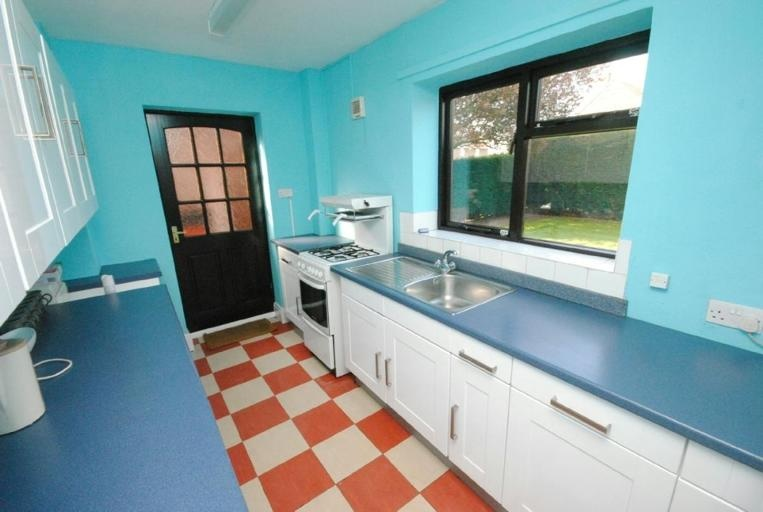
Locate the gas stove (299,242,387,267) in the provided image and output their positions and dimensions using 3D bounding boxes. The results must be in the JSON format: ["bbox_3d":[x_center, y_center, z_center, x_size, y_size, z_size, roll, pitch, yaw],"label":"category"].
[{"bbox_3d":[-0.347,-0.018,4.145,0.630,0.055,0.571,-10,16,-40],"label":"gas stove"}]

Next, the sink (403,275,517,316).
[{"bbox_3d":[0.570,0.230,3.356,0.357,0.162,0.418,-16,17,-36],"label":"sink"}]

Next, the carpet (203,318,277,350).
[{"bbox_3d":[-1.424,0.740,4.749,0.671,0.027,0.470,-16,-26,-9],"label":"carpet"}]

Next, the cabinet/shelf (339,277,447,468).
[{"bbox_3d":[0.103,0.816,3.315,0.415,0.878,1.052,-11,21,-40],"label":"cabinet/shelf"}]
